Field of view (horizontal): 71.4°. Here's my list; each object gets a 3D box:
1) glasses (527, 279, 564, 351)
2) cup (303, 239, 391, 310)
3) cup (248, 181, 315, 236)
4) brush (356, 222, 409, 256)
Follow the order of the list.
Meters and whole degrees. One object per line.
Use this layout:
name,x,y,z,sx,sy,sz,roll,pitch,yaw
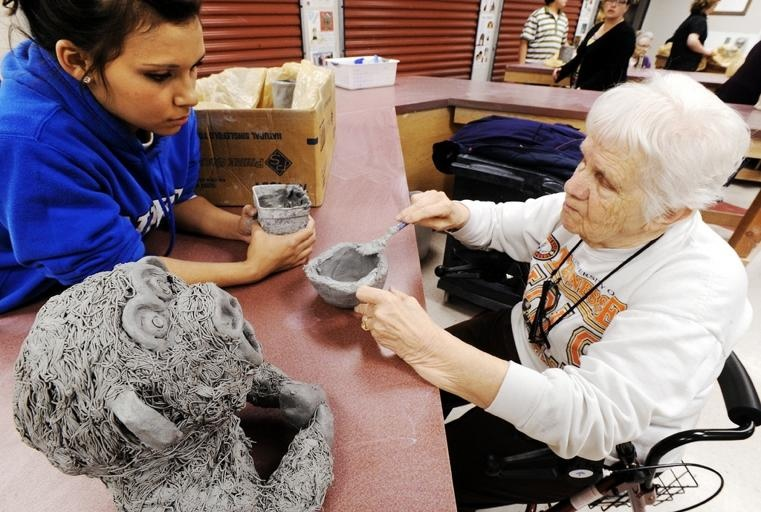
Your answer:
glasses,0.572,0.219,1.894,0.060,0.204,0.140,14,-6,11
cup,-0.095,0.048,1.763,0.184,0.104,0.305,24,38,32
cup,-0.346,-0.169,1.849,0.171,0.096,0.214,-13,32,-19
brush,0.015,-0.067,1.858,0.078,0.025,0.217,31,39,25
